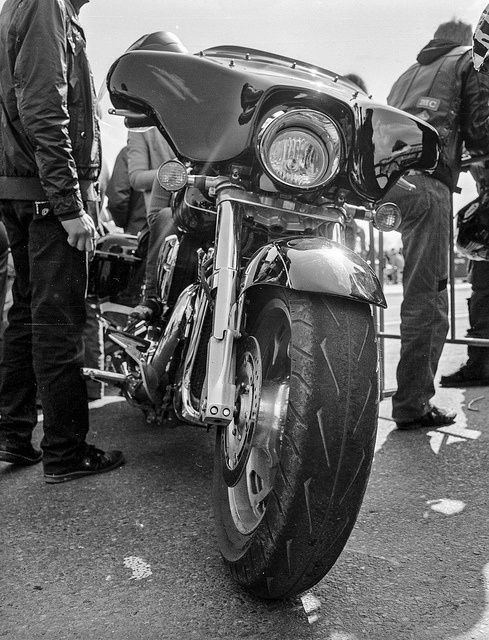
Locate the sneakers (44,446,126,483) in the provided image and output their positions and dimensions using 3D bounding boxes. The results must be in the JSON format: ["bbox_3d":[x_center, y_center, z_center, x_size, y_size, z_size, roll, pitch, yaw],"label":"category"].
[{"bbox_3d":[-0.677,0.625,2.566,0.337,0.143,0.117,-10,14,-39],"label":"sneakers"}]

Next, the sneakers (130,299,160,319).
[{"bbox_3d":[-0.422,-0.051,2.549,0.069,0.047,0.118,4,9,8],"label":"sneakers"}]

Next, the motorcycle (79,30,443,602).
[{"bbox_3d":[0.028,-0.173,2.056,0.743,1.160,2.021,6,8,-18],"label":"motorcycle"}]
